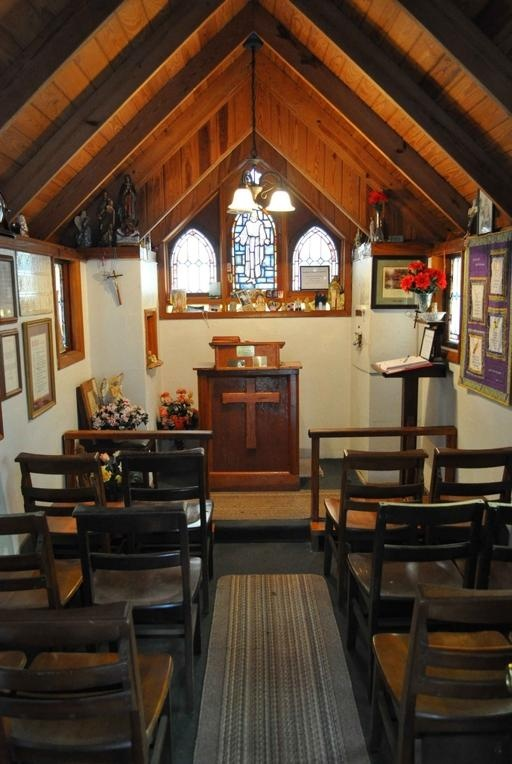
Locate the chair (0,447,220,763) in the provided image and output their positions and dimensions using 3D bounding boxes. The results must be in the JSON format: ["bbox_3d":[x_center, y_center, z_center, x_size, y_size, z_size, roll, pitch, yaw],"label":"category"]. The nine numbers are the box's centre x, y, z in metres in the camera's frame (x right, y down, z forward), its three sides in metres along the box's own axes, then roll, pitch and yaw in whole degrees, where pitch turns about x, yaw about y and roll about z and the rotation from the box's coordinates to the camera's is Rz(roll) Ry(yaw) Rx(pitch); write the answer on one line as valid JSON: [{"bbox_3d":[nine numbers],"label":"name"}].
[{"bbox_3d":[-0.883,0.979,3.431,1.318,1.427,0.887,0,17,-2],"label":"chair"}]

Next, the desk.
[{"bbox_3d":[1.228,0.194,4.648,0.705,1.189,0.652,1,4,0],"label":"desk"}]

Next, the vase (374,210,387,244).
[{"bbox_3d":[1.213,-1.533,5.646,0.122,0.338,0.342,-1,5,12],"label":"vase"}]

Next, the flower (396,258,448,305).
[{"bbox_3d":[1.337,-0.775,4.633,0.305,0.386,0.505,0,5,17],"label":"flower"}]

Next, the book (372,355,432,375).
[{"bbox_3d":[1.178,-0.138,4.659,0.396,0.109,0.444,-2,5,1],"label":"book"}]
